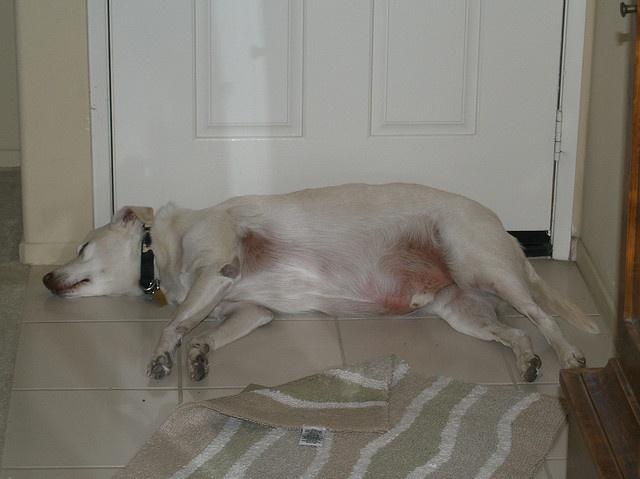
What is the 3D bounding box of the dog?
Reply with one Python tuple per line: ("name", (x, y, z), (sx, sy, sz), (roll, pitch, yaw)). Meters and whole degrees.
("dog", (-0.006, 0.111, 2.084), (2.040, 0.553, 0.602), (1, 16, 6))
